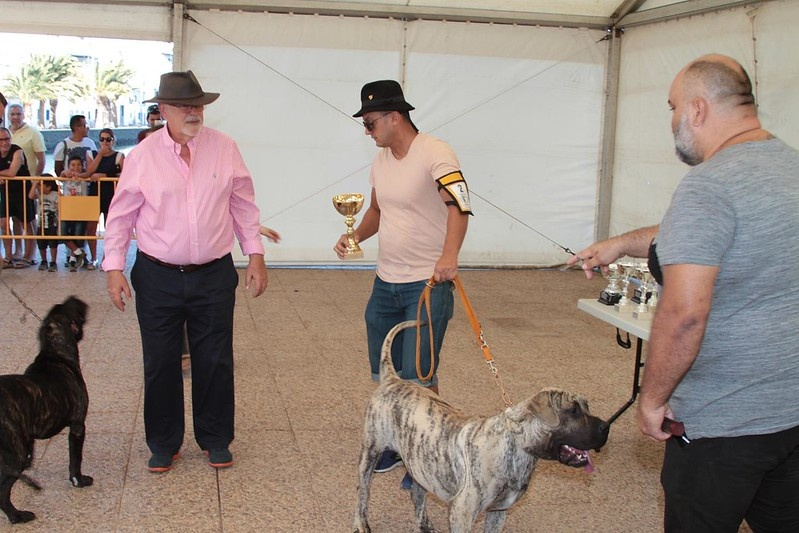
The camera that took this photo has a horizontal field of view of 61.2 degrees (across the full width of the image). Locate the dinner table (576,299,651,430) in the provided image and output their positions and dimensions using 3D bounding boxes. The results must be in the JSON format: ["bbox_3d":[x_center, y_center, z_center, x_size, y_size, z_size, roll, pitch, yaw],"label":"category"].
[{"bbox_3d":[1.698,0.799,5.361,0.604,0.602,0.944,0,10,-3],"label":"dinner table"}]

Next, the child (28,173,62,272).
[{"bbox_3d":[-5.217,-0.602,9.953,0.520,1.357,0.422,1,3,2],"label":"child"}]

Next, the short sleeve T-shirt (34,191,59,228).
[{"bbox_3d":[-5.233,-0.815,9.940,0.290,0.523,0.380,15,13,28],"label":"short sleeve T-shirt"}]

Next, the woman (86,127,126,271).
[{"bbox_3d":[-4.487,-0.946,10.107,0.557,2.067,0.632,2,0,27],"label":"woman"}]

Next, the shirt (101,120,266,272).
[{"bbox_3d":[-1.418,-0.407,4.432,1.026,0.929,0.390,-3,15,-24],"label":"shirt"}]

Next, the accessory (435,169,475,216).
[{"bbox_3d":[0.333,-0.434,4.124,0.225,0.262,0.168,0,14,-10],"label":"accessory"}]

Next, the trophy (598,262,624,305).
[{"bbox_3d":[1.636,0.148,5.197,0.209,0.304,0.221,-2,7,-38],"label":"trophy"}]

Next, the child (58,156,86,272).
[{"bbox_3d":[-4.863,-0.765,10.038,0.476,1.687,0.624,-4,13,-38],"label":"child"}]

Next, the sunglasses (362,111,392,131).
[{"bbox_3d":[-0.146,-0.878,4.246,0.121,0.038,0.115,-28,16,-23],"label":"sunglasses"}]

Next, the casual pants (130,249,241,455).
[{"bbox_3d":[-1.461,0.599,4.610,0.673,1.408,0.472,1,7,-10],"label":"casual pants"}]

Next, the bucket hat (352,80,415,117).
[{"bbox_3d":[-0.077,-1.030,4.274,0.274,0.138,0.258,-6,11,-25],"label":"bucket hat"}]

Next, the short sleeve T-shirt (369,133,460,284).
[{"bbox_3d":[0.077,-0.384,4.411,0.382,0.887,1.021,-4,8,-40],"label":"short sleeve T-shirt"}]

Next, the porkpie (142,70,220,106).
[{"bbox_3d":[-1.437,-1.071,4.335,0.322,0.124,0.294,14,26,41],"label":"porkpie"}]
